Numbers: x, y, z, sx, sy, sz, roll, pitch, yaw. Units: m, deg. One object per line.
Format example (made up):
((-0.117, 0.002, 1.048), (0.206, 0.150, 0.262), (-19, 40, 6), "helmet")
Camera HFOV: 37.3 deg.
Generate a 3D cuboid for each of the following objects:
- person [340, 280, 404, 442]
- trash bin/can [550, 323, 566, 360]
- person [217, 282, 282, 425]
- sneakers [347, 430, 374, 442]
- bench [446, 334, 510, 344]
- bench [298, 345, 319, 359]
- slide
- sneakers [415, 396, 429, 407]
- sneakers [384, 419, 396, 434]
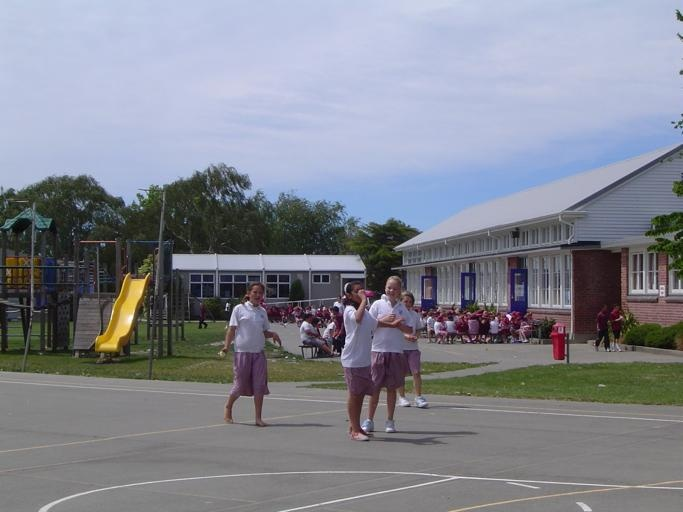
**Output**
((0.387, 1.731, 17.017), (0.770, 2.667, 1.227), (1, -6, 0), "person")
((5.954, 2.324, 27.789), (0.304, 0.911, 0.729), (1, -6, 7), "trash bin/can")
((-1.684, 1.766, 18.567), (0.931, 2.599, 1.538), (2, -6, -5), "person")
((0.306, 2.982, 16.808), (0.135, 0.150, 0.385), (4, -11, -36), "sneakers")
((5.381, 3.271, 39.916), (2.689, 0.355, 1.403), (3, -7, -15), "bench")
((-1.037, 2.972, 32.799), (0.727, 0.443, 0.403), (1, -6, -6), "bench")
((-6.525, 1.648, 30.358), (1.238, 2.590, 2.903), (2, -7, -5), "slide")
((1.541, 2.848, 19.766), (0.135, 0.138, 0.334), (-1, -11, -11), "sneakers")
((0.829, 2.924, 17.387), (0.174, 0.161, 0.414), (1, -10, -5), "sneakers")
